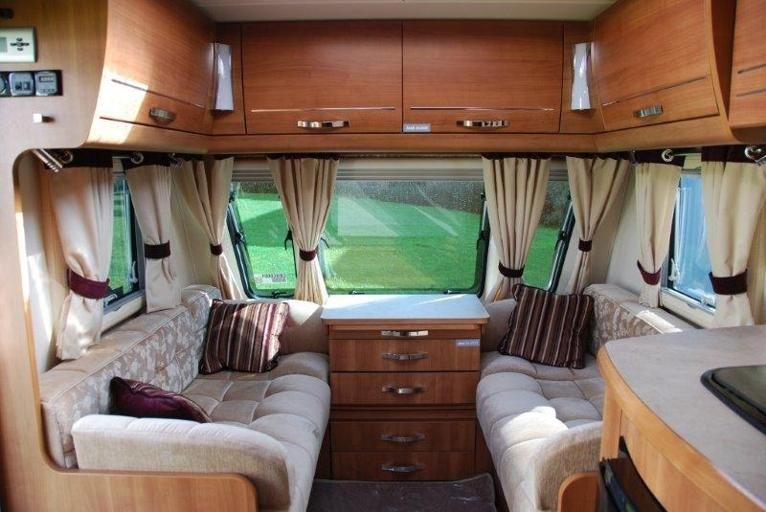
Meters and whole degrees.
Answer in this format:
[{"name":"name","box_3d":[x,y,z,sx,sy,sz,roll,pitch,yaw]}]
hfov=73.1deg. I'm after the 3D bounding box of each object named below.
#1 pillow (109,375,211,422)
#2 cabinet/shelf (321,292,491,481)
[{"name":"pillow","box_3d":[-1.212,0.777,2.742,0.509,0.245,0.225,0,9,16]},{"name":"cabinet/shelf","box_3d":[0.171,1.015,4.141,1.690,1.440,1.101,0,5,2]}]
